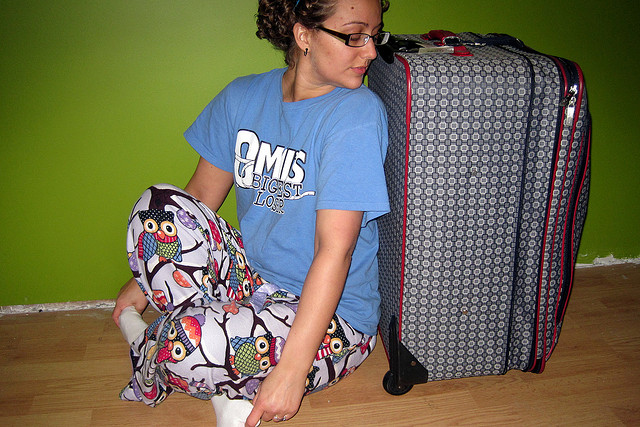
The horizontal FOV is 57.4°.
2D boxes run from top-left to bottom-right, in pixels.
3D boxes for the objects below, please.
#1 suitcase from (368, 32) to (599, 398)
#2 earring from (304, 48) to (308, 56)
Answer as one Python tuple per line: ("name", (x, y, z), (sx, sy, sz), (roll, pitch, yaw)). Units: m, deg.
("suitcase", (0.528, 0.012, 1.990), (0.692, 1.152, 0.409), (-3, 24, -7))
("earring", (-0.042, -0.494, 1.780), (0.013, 0.017, 0.003), (19, 30, 37))
